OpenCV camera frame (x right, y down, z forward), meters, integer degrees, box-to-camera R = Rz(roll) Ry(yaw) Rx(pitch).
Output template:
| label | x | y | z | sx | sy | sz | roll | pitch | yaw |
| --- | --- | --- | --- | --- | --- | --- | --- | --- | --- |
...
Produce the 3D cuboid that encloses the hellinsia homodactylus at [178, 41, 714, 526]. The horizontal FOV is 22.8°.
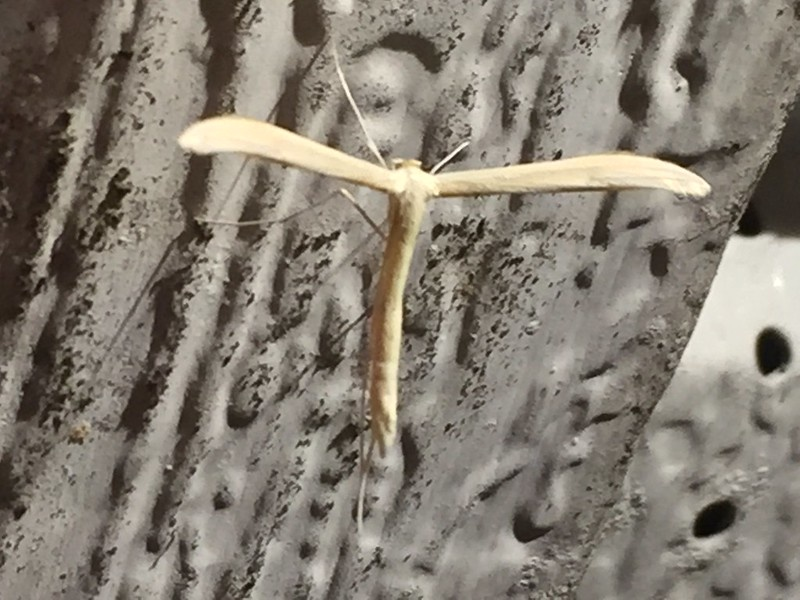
| label | x | y | z | sx | sy | sz | roll | pitch | yaw |
| --- | --- | --- | --- | --- | --- | --- | --- | --- | --- |
| hellinsia homodactylus | 0.041 | -0.055 | 3.153 | 0.632 | 0.291 | 0.593 | 5 | 90 | -6 |
